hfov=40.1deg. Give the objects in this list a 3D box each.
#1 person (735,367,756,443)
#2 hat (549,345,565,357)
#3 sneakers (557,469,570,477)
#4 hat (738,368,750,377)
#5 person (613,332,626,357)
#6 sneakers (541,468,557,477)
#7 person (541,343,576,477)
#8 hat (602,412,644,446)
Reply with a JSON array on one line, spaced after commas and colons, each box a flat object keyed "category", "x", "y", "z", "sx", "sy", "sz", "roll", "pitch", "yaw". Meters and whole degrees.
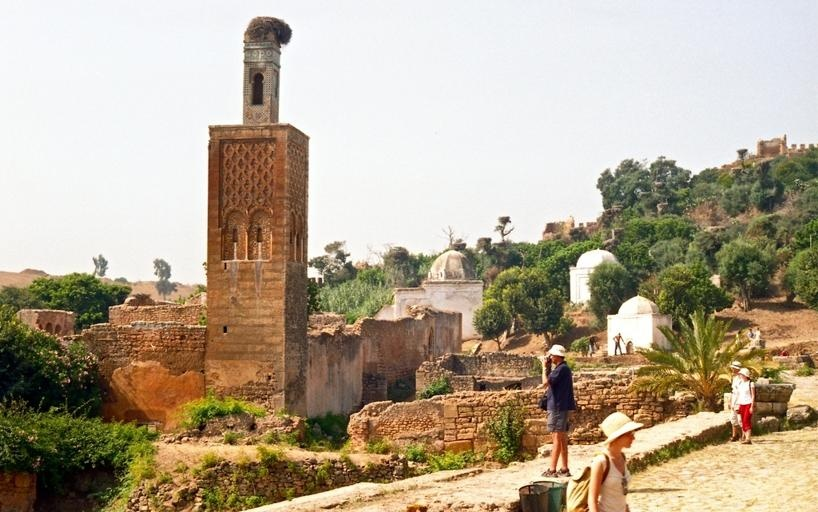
[{"category": "person", "x": 9.138, "y": 4.079, "z": 30.387, "sx": 0.469, "sy": 1.990, "sz": 0.521, "roll": -6, "pitch": -7, "yaw": 17}, {"category": "hat", "x": 3.754, "y": 2.436, "z": 28.512, "sx": 0.361, "sy": 0.184, "sz": 0.284, "roll": 17, "pitch": 11, "yaw": 42}, {"category": "sneakers", "x": 3.893, "y": 5.474, "z": 28.159, "sx": 0.134, "sy": 0.160, "sz": 0.365, "roll": -3, "pitch": 3, "yaw": -25}, {"category": "hat", "x": 9.135, "y": 3.238, "z": 30.517, "sx": 0.192, "sy": 0.264, "sz": 0.218, "roll": -21, "pitch": 26, "yaw": 39}, {"category": "person", "x": 10.577, "y": 4.433, "z": 56.365, "sx": 0.562, "sy": 1.099, "sz": 1.598, "roll": -6, "pitch": -8, "yaw": 10}, {"category": "sneakers", "x": 3.550, "y": 5.479, "z": 28.211, "sx": 0.139, "sy": 0.164, "sz": 0.369, "roll": 0, "pitch": 0, "yaw": -34}, {"category": "person", "x": 3.739, "y": 3.950, "z": 28.478, "sx": 0.849, "sy": 3.273, "sz": 0.678, "roll": -2, "pitch": -7, "yaw": -14}, {"category": "hat", "x": 4.875, "y": 4.008, "z": 25.739, "sx": 0.727, "sy": 0.359, "sz": 0.729, "roll": -29, "pitch": -2, "yaw": -12}]
